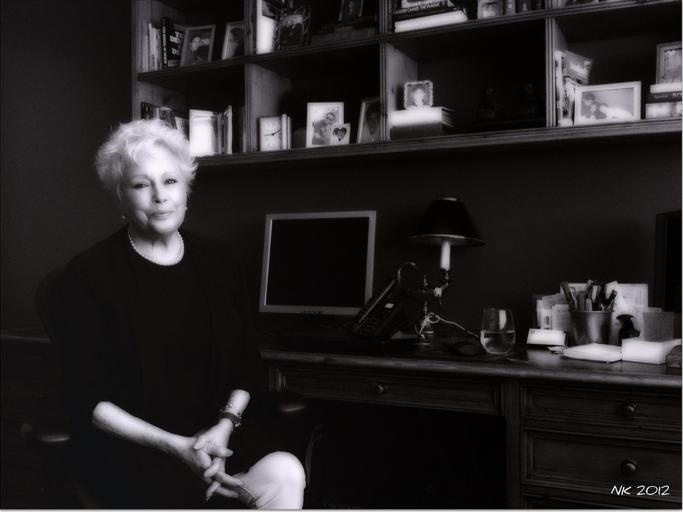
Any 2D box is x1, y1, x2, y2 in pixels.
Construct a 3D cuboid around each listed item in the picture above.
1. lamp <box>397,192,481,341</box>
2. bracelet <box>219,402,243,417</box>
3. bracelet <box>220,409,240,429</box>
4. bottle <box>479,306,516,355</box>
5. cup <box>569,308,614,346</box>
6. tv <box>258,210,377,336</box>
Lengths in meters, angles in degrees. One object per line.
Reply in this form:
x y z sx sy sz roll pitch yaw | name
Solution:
0.463 0.082 2.868 0.370 0.678 0.372 4 -4 -12 | lamp
-0.403 0.567 2.238 0.066 0.035 0.052 17 38 40 | bracelet
-0.397 0.588 2.246 0.072 0.038 0.060 31 -19 8 | bracelet
0.595 0.287 2.357 0.129 0.173 0.132 2 -4 0 | bottle
1.022 0.292 2.517 0.190 0.151 0.176 -1 2 0 | cup
-0.121 0.035 2.985 0.558 0.518 0.049 0 -15 13 | tv
